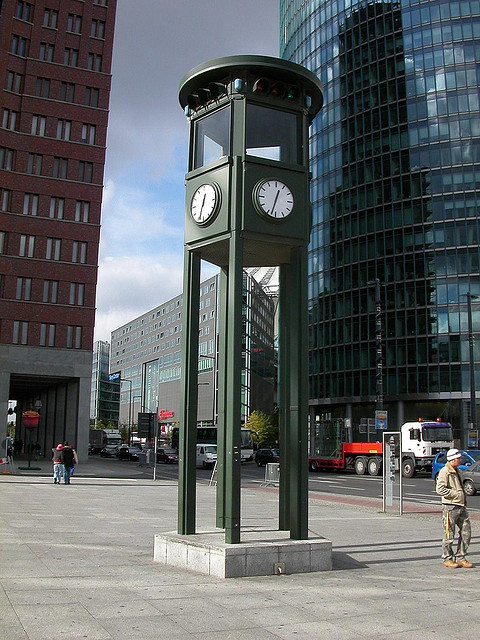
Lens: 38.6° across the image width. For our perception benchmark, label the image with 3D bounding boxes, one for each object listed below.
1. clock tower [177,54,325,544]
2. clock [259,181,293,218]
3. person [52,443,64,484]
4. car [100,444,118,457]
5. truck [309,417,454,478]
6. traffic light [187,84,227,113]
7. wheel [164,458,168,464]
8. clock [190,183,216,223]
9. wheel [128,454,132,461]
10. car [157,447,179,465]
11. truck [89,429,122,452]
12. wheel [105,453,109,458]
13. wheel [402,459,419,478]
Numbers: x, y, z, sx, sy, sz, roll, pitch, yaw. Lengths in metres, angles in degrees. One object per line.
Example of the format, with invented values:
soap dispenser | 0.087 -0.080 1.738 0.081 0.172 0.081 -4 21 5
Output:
clock tower | 0.086 -0.392 9.732 1.971 6.721 1.983 4 -7 -6
clock | 0.472 -1.640 9.503 0.439 0.462 0.059 15 -17 -28
person | -7.155 5.639 26.946 0.380 1.372 2.411 5 -8 -14
car | -13.108 12.962 69.228 1.256 1.132 2.088 3 1 -25
truck | 7.441 7.471 39.644 2.167 2.911 9.410 14 -16 -35
traffic light | -0.496 -3.364 10.113 0.250 0.261 0.684 6 -11 -37
wheel | -5.923 11.097 54.649 0.268 0.462 1.034 4 -8 -6
clock | -0.522 -1.638 9.798 0.058 0.576 0.548 12 -17 -26
wheel | -9.457 11.672 58.800 0.349 0.581 1.357 4 -8 -9
car | -5.826 10.716 54.469 1.041 1.178 2.372 7 -8 -26
truck | -14.702 13.340 76.121 3.555 2.565 4.379 7 -9 -27
wheel | -13.299 13.433 68.497 0.373 0.293 1.126 5 -8 -12
wheel | 8.911 7.742 36.147 0.801 0.965 0.893 0 -8 23
